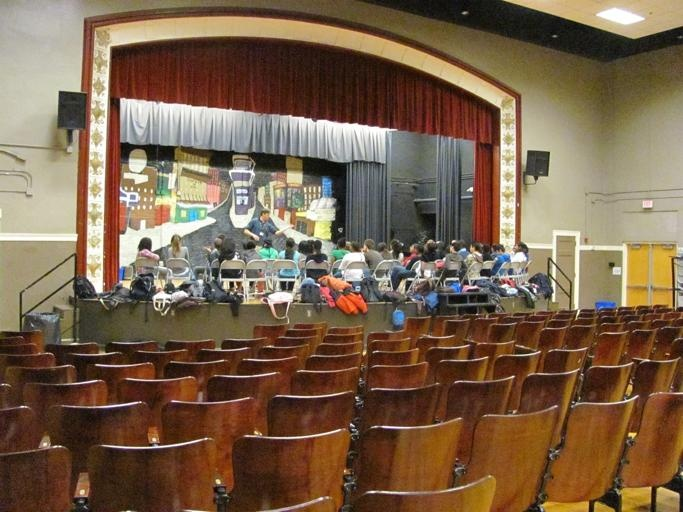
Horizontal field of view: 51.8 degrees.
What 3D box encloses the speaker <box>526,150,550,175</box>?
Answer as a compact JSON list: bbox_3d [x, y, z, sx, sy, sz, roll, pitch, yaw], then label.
[{"bbox_3d":[4.311,-2.054,15.476,0.522,0.577,0.304,1,0,-32],"label":"speaker"}]
